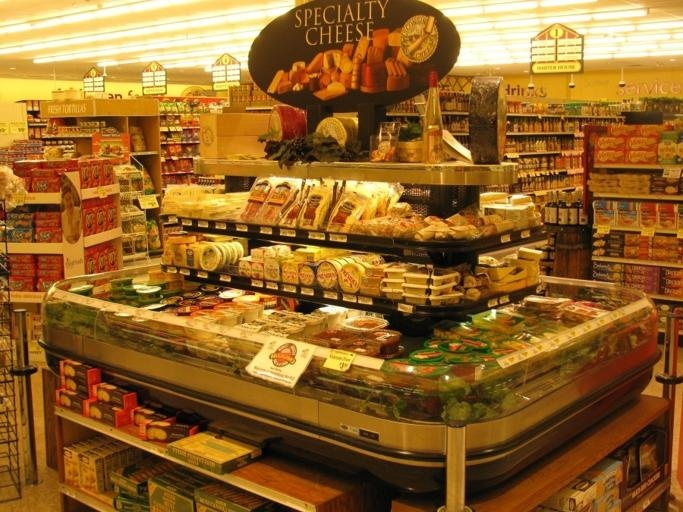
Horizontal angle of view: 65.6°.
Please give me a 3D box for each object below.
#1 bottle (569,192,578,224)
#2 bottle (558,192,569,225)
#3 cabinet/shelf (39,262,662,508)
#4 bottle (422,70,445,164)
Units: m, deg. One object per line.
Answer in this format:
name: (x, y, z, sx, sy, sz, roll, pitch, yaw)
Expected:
bottle: (3.095, -0.645, 7.102, 0.109, 0.398, 0.290, 3, 13, 23)
bottle: (2.980, -0.655, 7.152, 0.139, 0.413, 0.293, 2, 13, 21)
cabinet/shelf: (0.075, 0.685, 2.747, 1.908, 0.312, 1.274, 4, 7, 38)
bottle: (0.477, -0.729, 2.751, 0.100, 0.473, 0.298, -1, 12, 10)
